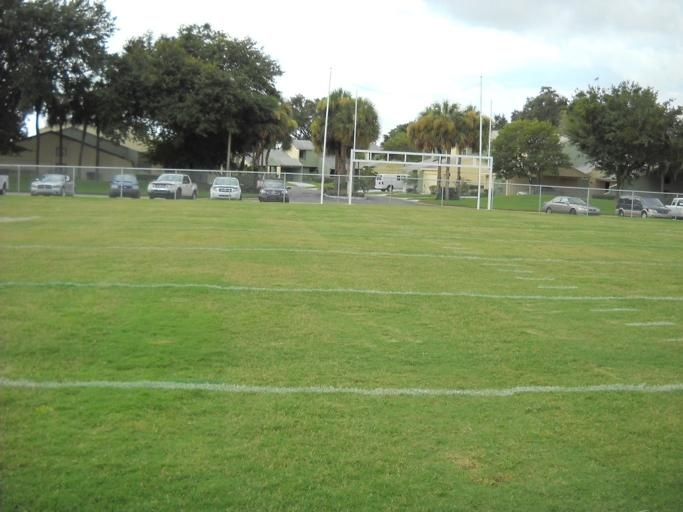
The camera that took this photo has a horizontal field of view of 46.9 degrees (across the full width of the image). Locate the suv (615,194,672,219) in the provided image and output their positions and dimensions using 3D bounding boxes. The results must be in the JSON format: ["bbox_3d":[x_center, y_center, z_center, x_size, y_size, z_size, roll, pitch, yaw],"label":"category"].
[{"bbox_3d":[16.883,-2.740,44.256,1.522,1.156,3.238,2,4,-24],"label":"suv"}]

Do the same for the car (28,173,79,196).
[{"bbox_3d":[-14.690,-3.596,39.901,1.668,1.069,3.122,-1,3,-14],"label":"car"}]

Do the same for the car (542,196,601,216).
[{"bbox_3d":[13.303,-2.911,45.483,1.804,1.021,3.491,3,4,-17],"label":"car"}]

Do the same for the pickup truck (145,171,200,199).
[{"bbox_3d":[-8.732,-3.636,41.014,1.720,1.351,2.616,5,4,21],"label":"pickup truck"}]

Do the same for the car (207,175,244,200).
[{"bbox_3d":[-6.220,-3.587,41.961,1.537,1.197,2.006,3,4,-6],"label":"car"}]
